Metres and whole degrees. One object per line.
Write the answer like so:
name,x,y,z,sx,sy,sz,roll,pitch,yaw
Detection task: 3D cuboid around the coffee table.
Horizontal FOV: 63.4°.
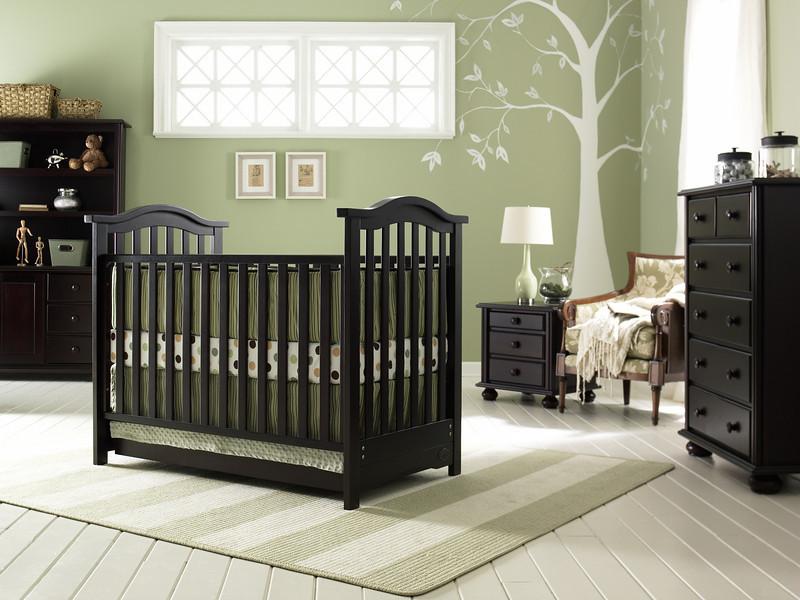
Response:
coffee table,0.863,0.361,4.563,0.688,0.782,0.725,-1,-2,44

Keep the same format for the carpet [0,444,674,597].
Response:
carpet,-0.226,0.802,2.613,2.583,0.042,1.291,1,5,7

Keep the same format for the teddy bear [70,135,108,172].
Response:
teddy bear,-2.455,-1.174,5.139,0.285,0.278,0.246,-2,17,-26

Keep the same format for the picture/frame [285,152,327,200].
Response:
picture/frame,-0.752,-1.022,5.238,0.389,0.434,0.047,0,4,-4

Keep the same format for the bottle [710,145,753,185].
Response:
bottle,1.507,-0.606,2.958,0.198,0.199,0.197,0,3,25

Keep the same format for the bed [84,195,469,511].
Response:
bed,-0.501,0.272,3.297,1.965,1.528,1.248,1,1,26

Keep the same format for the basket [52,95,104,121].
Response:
basket,-2.556,-1.508,5.145,0.325,0.121,0.214,2,3,2

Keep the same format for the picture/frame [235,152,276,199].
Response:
picture/frame,-1.145,-1.025,5.237,0.391,0.434,0.048,0,4,-4

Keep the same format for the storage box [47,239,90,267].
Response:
storage box,-2.598,-0.370,5.108,0.270,0.180,0.220,0,1,-1

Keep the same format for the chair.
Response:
chair,1.422,0.255,4.150,0.739,0.872,0.828,3,6,23

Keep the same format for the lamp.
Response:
lamp,0.934,-0.343,4.714,0.362,0.665,0.762,1,5,10
